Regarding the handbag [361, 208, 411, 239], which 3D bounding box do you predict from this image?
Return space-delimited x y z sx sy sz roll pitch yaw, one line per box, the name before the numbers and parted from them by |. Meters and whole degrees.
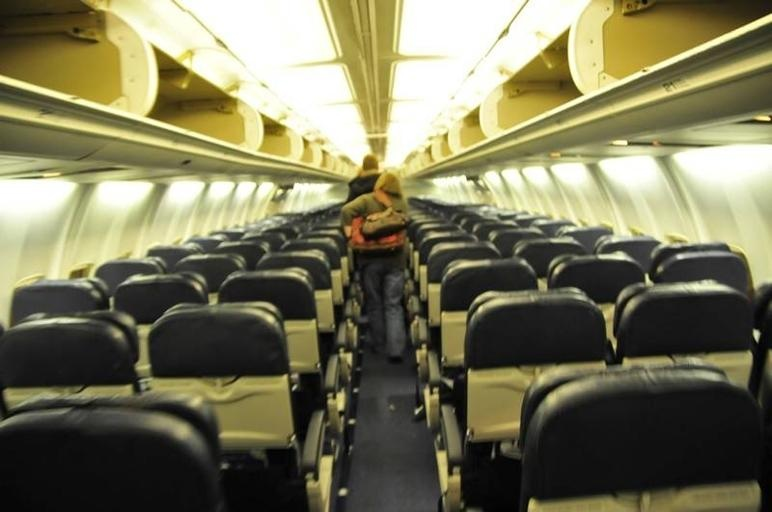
handbag | 0.004 -0.349 6.906 0.473 0.171 0.336 -16 4 -20
